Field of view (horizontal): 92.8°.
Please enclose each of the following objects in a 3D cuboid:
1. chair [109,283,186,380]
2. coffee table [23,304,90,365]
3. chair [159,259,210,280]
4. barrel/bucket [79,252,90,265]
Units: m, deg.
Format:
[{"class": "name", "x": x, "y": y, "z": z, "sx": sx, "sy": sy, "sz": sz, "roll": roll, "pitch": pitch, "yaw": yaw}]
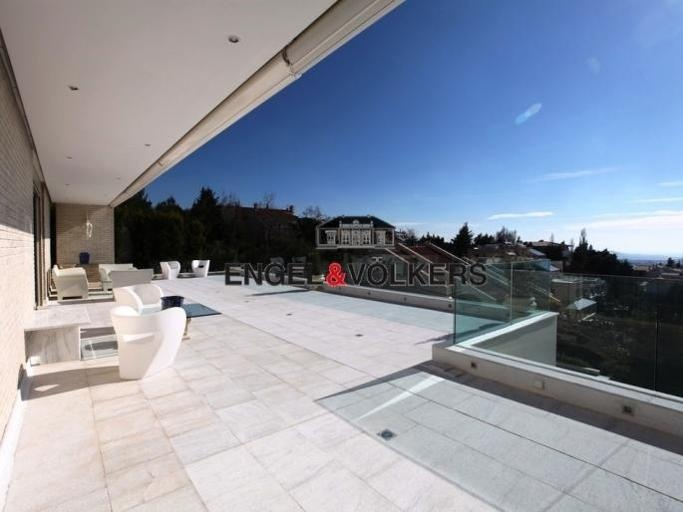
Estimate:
[{"class": "chair", "x": -2.928, "y": 1.124, "z": 4.869, "sx": 1.059, "sy": 1.042, "sz": 1.025, "roll": 7, "pitch": 7, "yaw": 38}, {"class": "coffee table", "x": -4.376, "y": 0.949, "z": 5.020, "sx": 0.739, "sy": 0.637, "sz": 1.380, "roll": -2, "pitch": 8, "yaw": -34}, {"class": "chair", "x": -8.120, "y": 0.575, "z": 16.695, "sx": 1.714, "sy": 0.896, "sz": 2.241, "roll": 6, "pitch": 8, "yaw": 42}, {"class": "barrel/bucket", "x": -10.441, "y": 0.004, "z": 13.137, "sx": 0.348, "sy": 0.477, "sz": 0.260, "roll": -5, "pitch": 9, "yaw": -37}]
